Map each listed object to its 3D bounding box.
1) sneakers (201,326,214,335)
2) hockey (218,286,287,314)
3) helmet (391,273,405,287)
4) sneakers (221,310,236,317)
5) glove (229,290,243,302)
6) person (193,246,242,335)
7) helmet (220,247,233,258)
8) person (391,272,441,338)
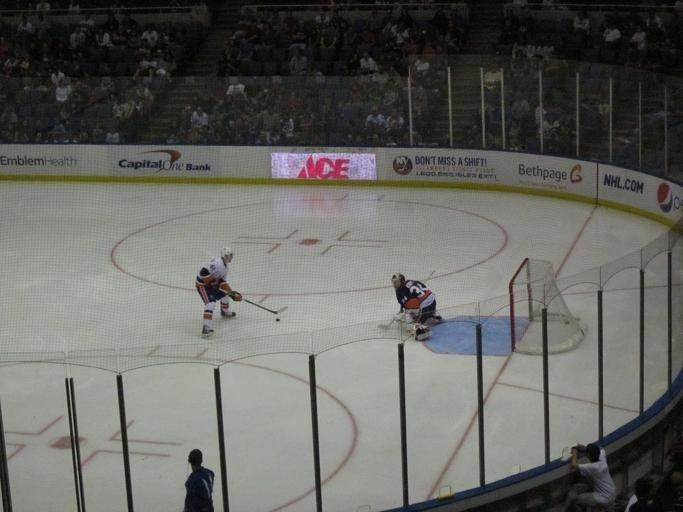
[{"bbox_3d":[-2.125,1.139,15.050,0.244,0.152,0.085,-11,23,-29],"label":"sneakers"},{"bbox_3d":[-1.513,0.744,16.157,0.809,0.209,0.143,25,-1,32],"label":"hockey"},{"bbox_3d":[0.868,0.364,14.990,0.232,0.214,0.173,8,14,21],"label":"helmet"},{"bbox_3d":[-1.862,0.938,15.713,0.184,0.071,0.090,-6,28,-3],"label":"sneakers"},{"bbox_3d":[-1.748,0.642,15.702,0.200,0.077,0.140,16,4,27],"label":"glove"},{"bbox_3d":[-2.076,0.616,16.033,0.796,1.212,1.168,5,18,14],"label":"person"},{"bbox_3d":[-1.888,-0.062,15.864,0.208,0.187,0.159,-12,24,-19],"label":"helmet"},{"bbox_3d":[1.169,0.758,15.011,0.662,1.080,0.897,-7,13,27],"label":"person"}]
